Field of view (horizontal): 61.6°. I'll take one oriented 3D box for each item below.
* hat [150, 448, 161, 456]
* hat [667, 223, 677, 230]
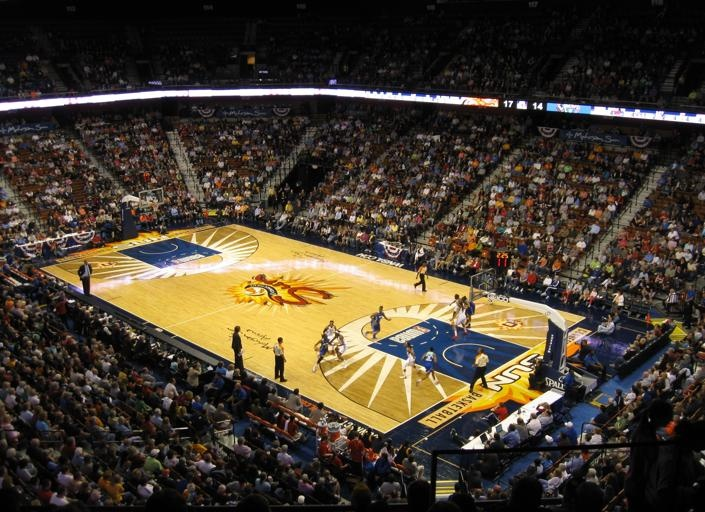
[{"bbox_3d":[-5.137,5.138,15.412,0.189,0.156,0.288,-3,-7,-19],"label":"hat"},{"bbox_3d":[16.279,-1.477,29.970,0.324,0.294,0.453,14,26,9],"label":"hat"}]
